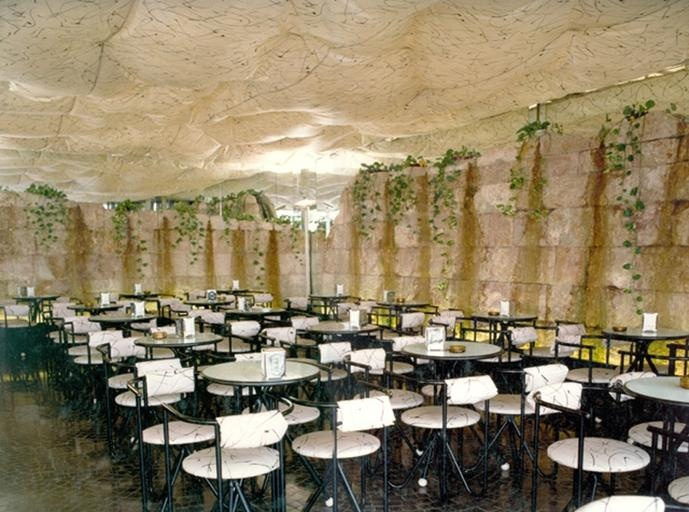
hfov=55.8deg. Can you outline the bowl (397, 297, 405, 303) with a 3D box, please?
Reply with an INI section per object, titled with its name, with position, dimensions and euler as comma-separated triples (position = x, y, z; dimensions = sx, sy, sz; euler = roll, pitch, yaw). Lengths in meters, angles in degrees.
[bowl]
position = 1.027, 0.810, 11.996
dimensions = 0.111, 0.071, 0.116
euler = -1, -2, 0
